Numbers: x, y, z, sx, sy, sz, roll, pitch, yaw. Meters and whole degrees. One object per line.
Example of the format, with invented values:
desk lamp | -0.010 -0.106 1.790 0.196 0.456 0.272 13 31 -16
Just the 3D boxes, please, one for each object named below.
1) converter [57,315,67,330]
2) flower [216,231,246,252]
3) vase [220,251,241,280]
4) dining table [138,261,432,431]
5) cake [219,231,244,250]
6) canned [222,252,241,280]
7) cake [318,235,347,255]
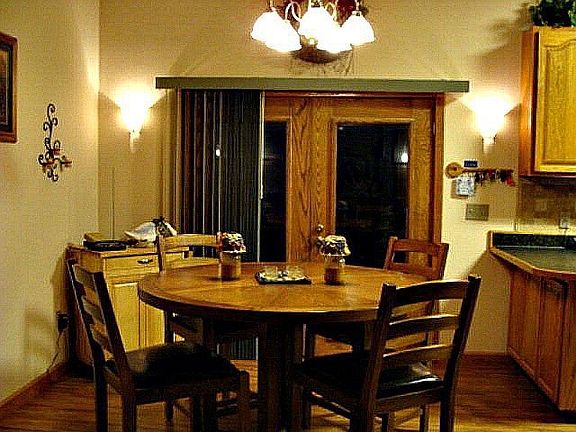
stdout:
converter | -1.836 0.864 4.296 0.039 0.152 0.103 0 7 9
flower | -0.359 0.173 3.329 0.132 0.107 0.139 3 -6 -1
vase | -0.372 0.309 3.386 0.144 0.167 0.146 1 0 -9
dining table | -0.100 0.542 2.991 1.232 0.735 1.235 0 0 -26
cake | -0.358 0.155 3.322 0.120 0.095 0.122 2 -3 -1
canned | -0.362 0.311 3.320 0.147 0.169 0.152 -2 -5 25
cake | 0.265 0.182 3.265 0.128 0.076 0.130 1 -4 -7
